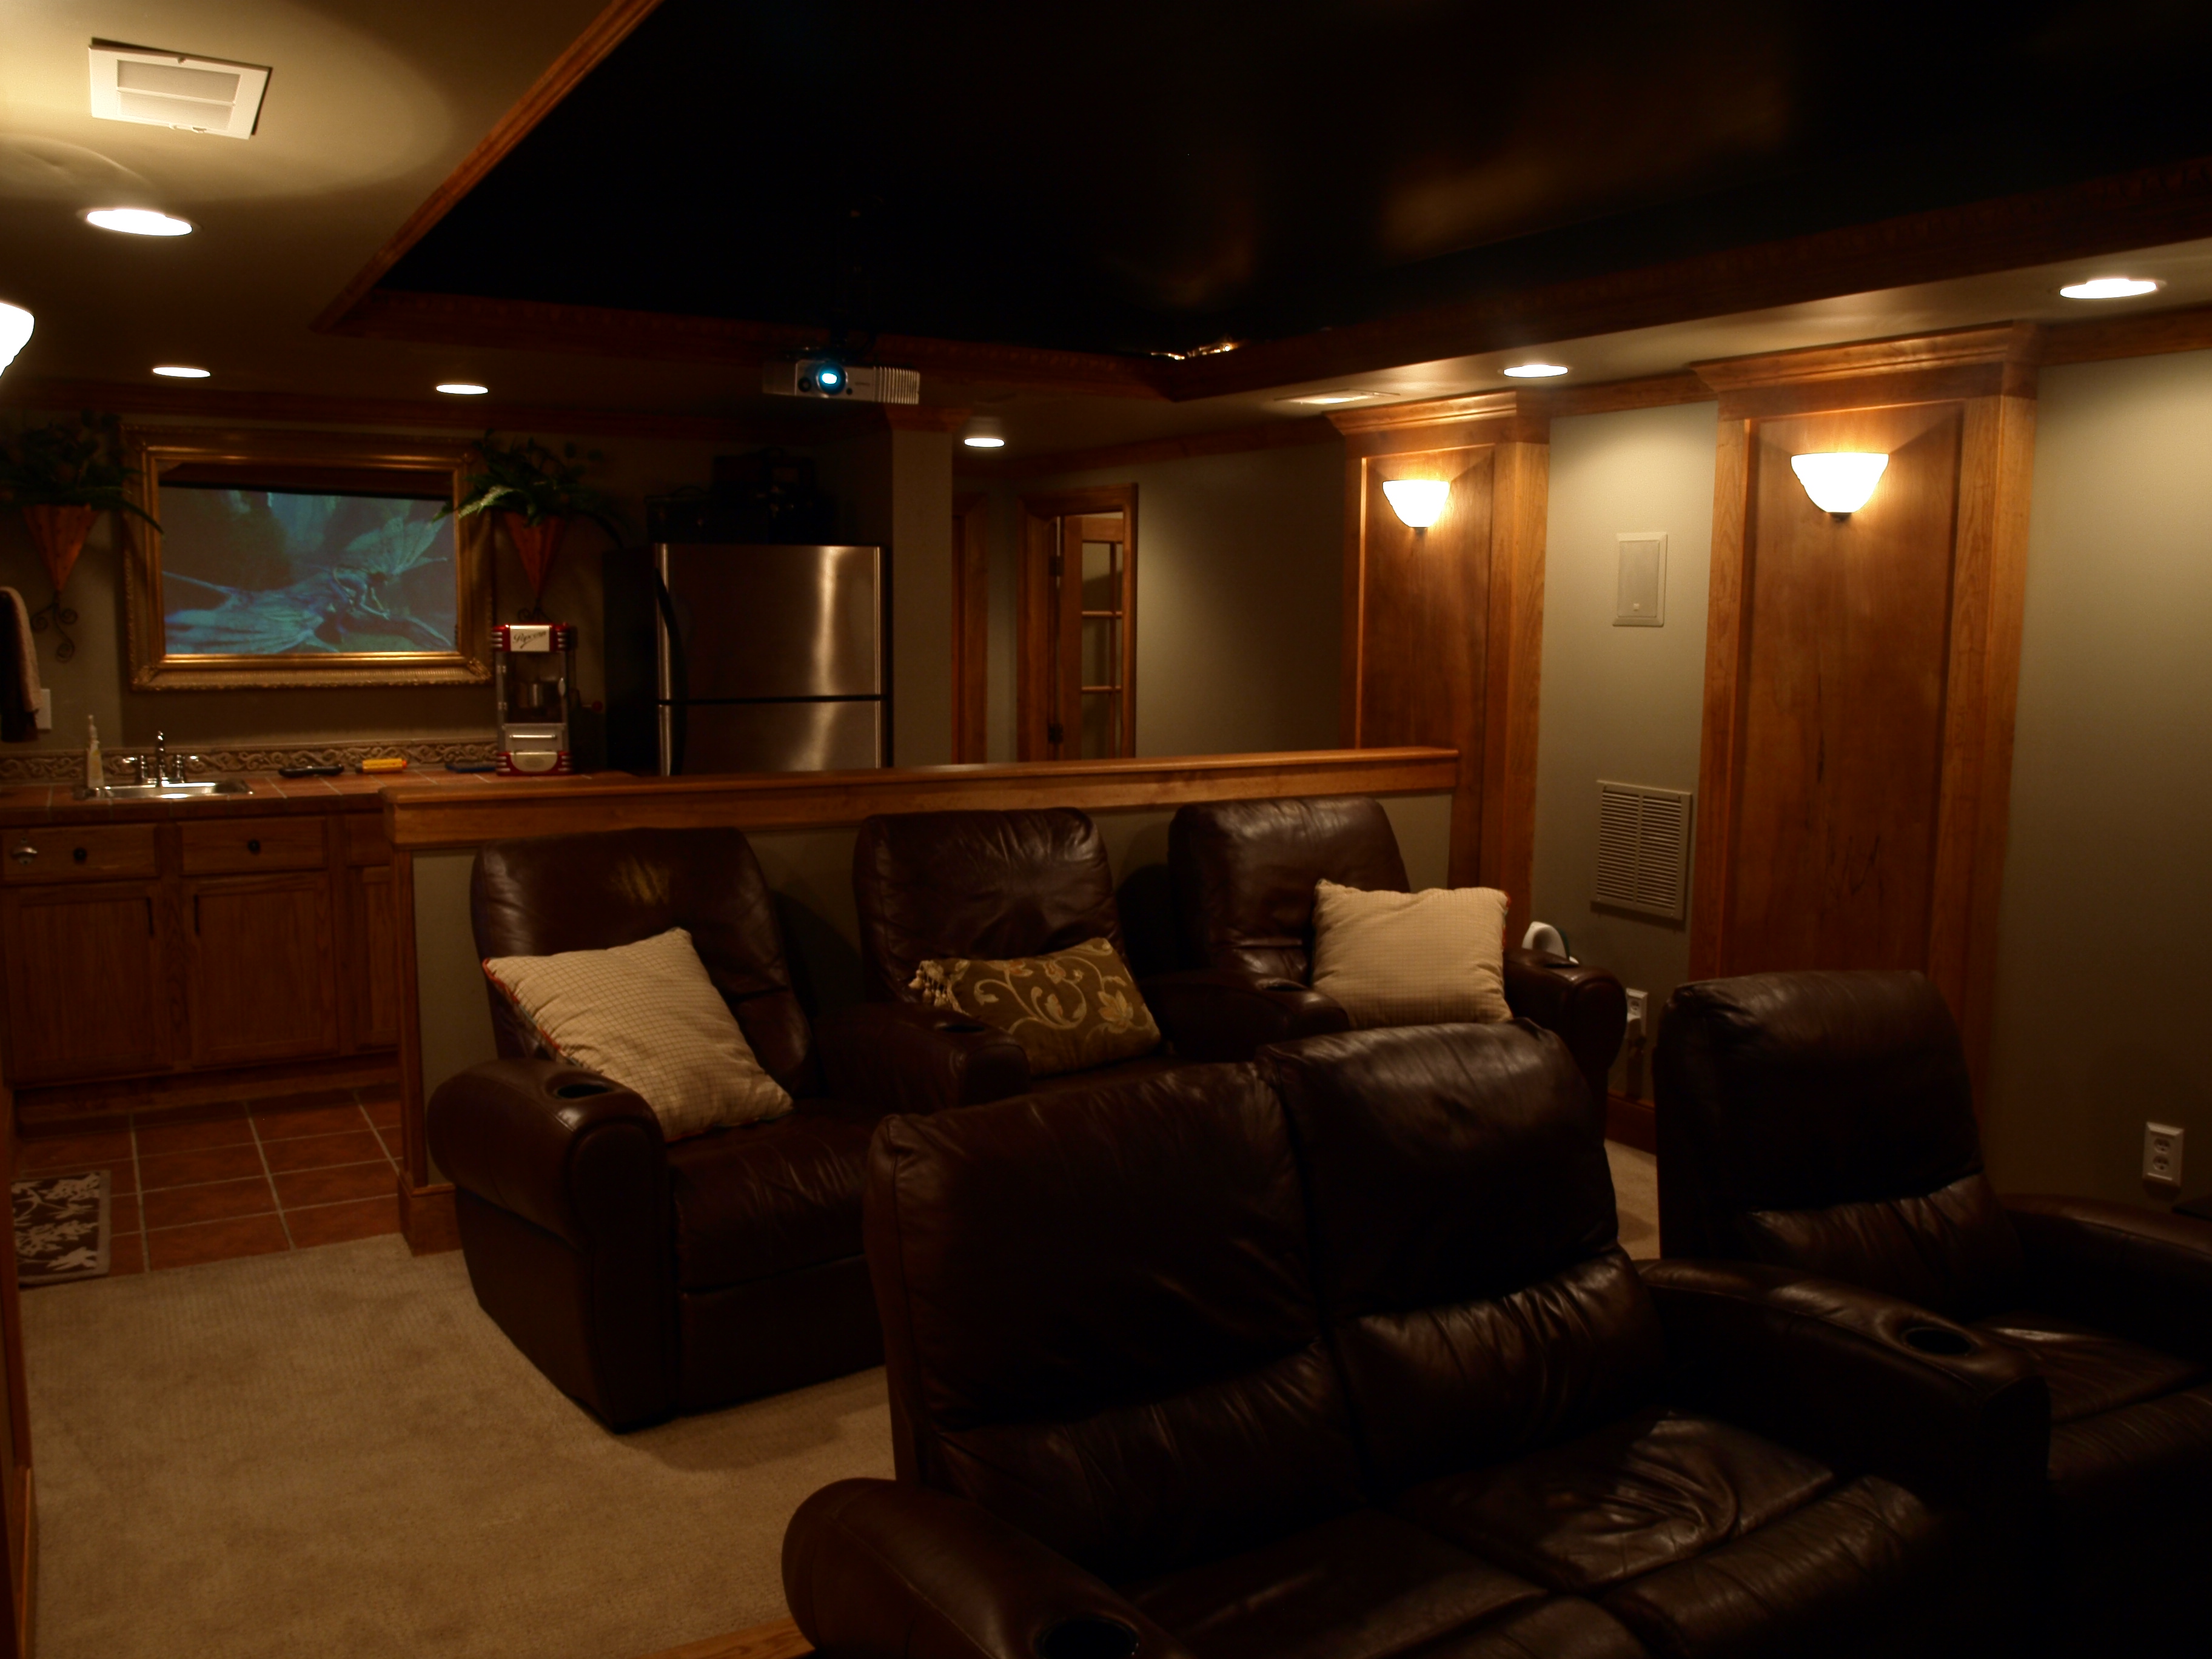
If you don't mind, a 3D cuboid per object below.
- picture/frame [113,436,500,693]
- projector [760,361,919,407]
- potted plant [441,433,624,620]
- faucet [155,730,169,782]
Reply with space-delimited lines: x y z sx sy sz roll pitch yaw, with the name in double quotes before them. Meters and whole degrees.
"picture/frame" -3.217 -1.071 6.443 1.061 0.817 0.072 -2 7 -22
"projector" -0.843 -1.390 5.111 0.259 0.067 0.239 -1 3 -35
"potted plant" -2.349 -1.250 6.922 0.680 0.788 0.648 2 3 30
"faucet" -3.591 -0.281 6.207 0.061 0.175 0.177 -9 14 -30
